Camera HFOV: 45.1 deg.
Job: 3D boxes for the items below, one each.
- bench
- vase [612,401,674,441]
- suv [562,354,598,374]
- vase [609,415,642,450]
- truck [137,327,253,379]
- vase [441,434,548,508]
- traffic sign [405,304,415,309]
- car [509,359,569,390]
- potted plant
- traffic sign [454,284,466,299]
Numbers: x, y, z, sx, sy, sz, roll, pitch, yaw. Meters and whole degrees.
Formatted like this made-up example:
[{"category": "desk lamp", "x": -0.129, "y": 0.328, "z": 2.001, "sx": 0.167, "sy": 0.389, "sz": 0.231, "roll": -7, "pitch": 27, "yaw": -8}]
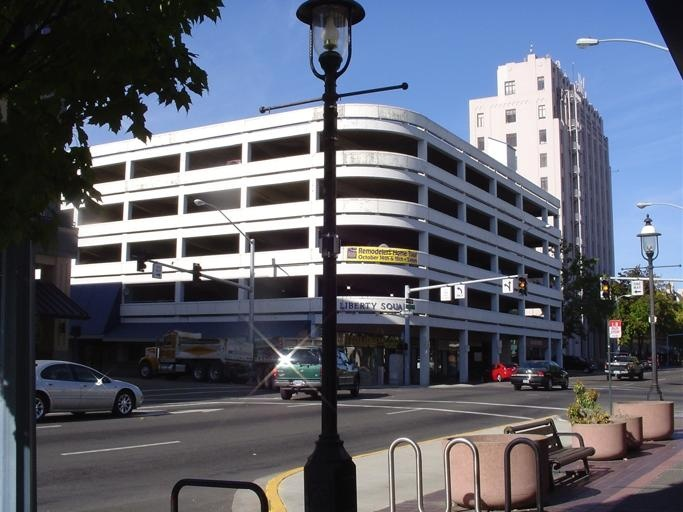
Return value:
[{"category": "bench", "x": 3.319, "y": 3.094, "z": 13.012, "sx": 0.778, "sy": 1.022, "sz": 1.770, "roll": -8, "pitch": -9, "yaw": 34}, {"category": "vase", "x": 6.447, "y": 3.177, "z": 17.036, "sx": 0.969, "sy": 0.766, "sz": 1.029, "roll": -1, "pitch": -12, "yaw": -2}, {"category": "suv", "x": 22.434, "y": 10.292, "z": 78.348, "sx": 2.600, "sy": 1.515, "sz": 1.765, "roll": -9, "pitch": -9, "yaw": 35}, {"category": "vase", "x": 5.327, "y": 3.303, "z": 15.785, "sx": 0.624, "sy": 0.741, "sz": 0.640, "roll": -8, "pitch": -8, "yaw": 44}, {"category": "truck", "x": -7.254, "y": 5.121, "z": 43.545, "sx": 6.747, "sy": 2.971, "sz": 2.515, "roll": -4, "pitch": -14, "yaw": 37}, {"category": "vase", "x": 2.118, "y": 2.959, "z": 11.375, "sx": 1.249, "sy": 1.022, "sz": 1.121, "roll": -4, "pitch": -14, "yaw": 12}, {"category": "traffic sign", "x": 3.733, "y": 2.729, "z": 45.315, "sx": 0.152, "sy": 0.303, "sz": 0.288, "roll": -5, "pitch": 5, "yaw": -35}, {"category": "car", "x": 9.385, "y": 5.896, "z": 40.170, "sx": 2.420, "sy": 1.614, "sz": 2.708, "roll": -7, "pitch": -7, "yaw": 41}, {"category": "potted plant", "x": 4.592, "y": 2.996, "z": 14.800, "sx": 0.756, "sy": 1.737, "sz": 0.765, "roll": -7, "pitch": -6, "yaw": 39}, {"category": "traffic sign", "x": 6.534, "y": 1.901, "z": 45.485, "sx": 0.770, "sy": 0.960, "sz": 0.494, "roll": -1, "pitch": -13, "yaw": 5}]
